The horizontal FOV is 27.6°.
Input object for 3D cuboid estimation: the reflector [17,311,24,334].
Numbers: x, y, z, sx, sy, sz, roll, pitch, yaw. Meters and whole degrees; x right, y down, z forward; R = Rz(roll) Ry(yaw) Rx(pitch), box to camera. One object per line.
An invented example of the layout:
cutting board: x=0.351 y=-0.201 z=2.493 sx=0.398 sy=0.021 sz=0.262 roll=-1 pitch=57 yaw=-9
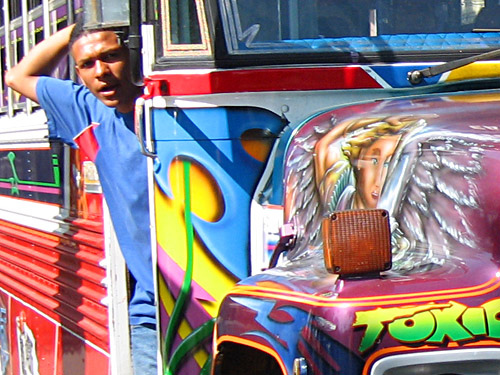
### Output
reflector: x=-1.476 y=0.879 z=6.579 sx=0.020 sy=0.142 sz=0.131 roll=2 pitch=-12 yaw=-20
